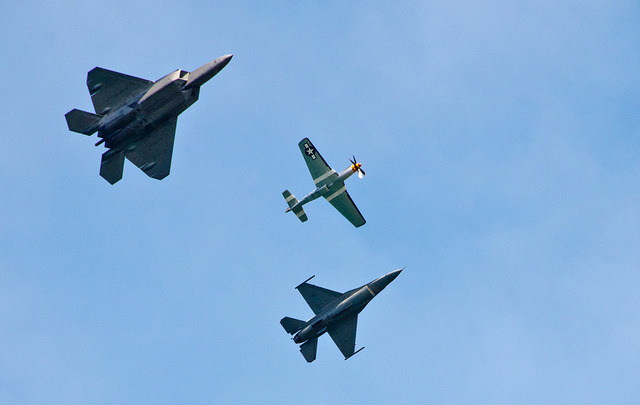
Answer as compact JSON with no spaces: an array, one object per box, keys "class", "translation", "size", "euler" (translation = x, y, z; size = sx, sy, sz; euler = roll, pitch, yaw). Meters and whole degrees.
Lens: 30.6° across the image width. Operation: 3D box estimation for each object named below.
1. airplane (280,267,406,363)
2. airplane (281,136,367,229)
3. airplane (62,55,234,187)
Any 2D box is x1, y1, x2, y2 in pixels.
[{"class":"airplane","translation":[3.303,11.013,132.406],"size":[15.472,10.737,3.840],"euler":[-29,-36,-15]},{"class":"airplane","translation":[1.091,-1.102,136.062],"size":[10.064,2.437,8.972],"euler":[21,-74,-2]},{"class":"airplane","translation":[-18.368,-10.899,131.807],"size":[19.787,4.264,16.250],"euler":[-26,-62,12]}]
